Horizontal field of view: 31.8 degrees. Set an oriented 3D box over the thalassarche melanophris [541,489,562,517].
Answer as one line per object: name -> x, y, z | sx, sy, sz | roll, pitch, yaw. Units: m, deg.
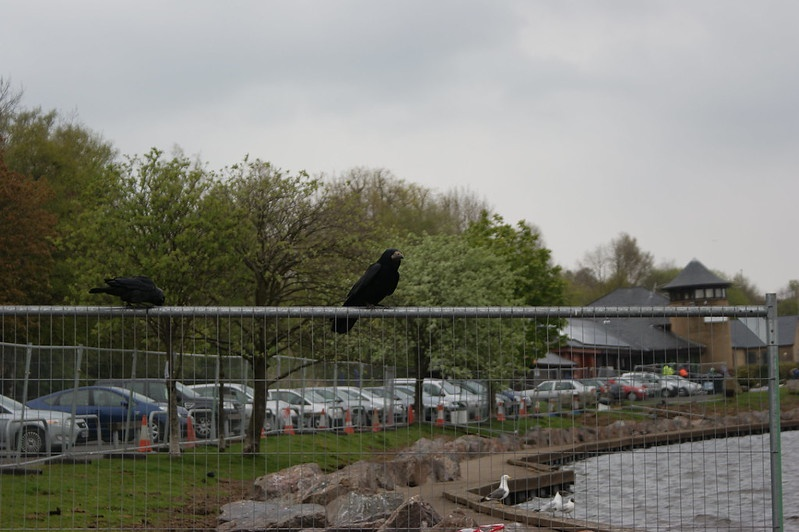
thalassarche melanophris -> 3.833, 5.964, 35.479 | 0.569, 0.628, 0.361 | -6, -8, 11
